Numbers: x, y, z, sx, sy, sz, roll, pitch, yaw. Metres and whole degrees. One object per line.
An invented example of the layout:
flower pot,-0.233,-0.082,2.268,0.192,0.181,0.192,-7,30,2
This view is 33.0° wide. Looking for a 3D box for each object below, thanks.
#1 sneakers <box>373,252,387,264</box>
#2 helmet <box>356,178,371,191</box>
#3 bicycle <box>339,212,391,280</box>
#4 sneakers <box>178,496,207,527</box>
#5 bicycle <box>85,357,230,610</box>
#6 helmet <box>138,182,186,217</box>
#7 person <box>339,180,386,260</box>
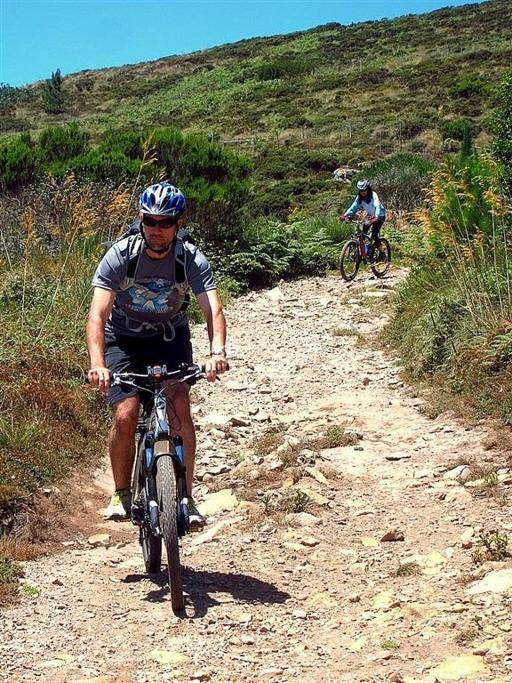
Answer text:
sneakers,2.282,-1.520,15.912,0.176,0.197,0.318,29,2,24
helmet,1.912,-2.782,15.462,0.178,0.237,0.181,2,3,14
bicycle,1.985,-1.664,16.206,0.786,0.880,1.478,0,2,33
sneakers,-0.321,0.885,4.427,0.082,0.231,0.103,-9,53,0
bicycle,-0.433,0.722,4.466,0.511,1.233,0.884,-13,9,-10
helmet,-0.500,-0.740,4.563,0.238,0.196,0.279,-11,9,-4
person,1.968,-2.279,15.966,0.770,1.363,1.061,-10,9,6
